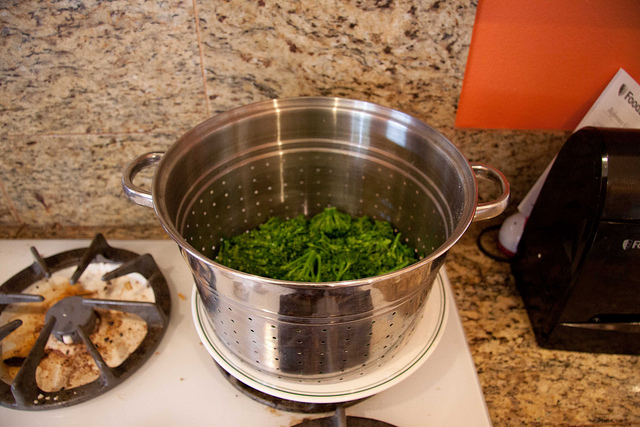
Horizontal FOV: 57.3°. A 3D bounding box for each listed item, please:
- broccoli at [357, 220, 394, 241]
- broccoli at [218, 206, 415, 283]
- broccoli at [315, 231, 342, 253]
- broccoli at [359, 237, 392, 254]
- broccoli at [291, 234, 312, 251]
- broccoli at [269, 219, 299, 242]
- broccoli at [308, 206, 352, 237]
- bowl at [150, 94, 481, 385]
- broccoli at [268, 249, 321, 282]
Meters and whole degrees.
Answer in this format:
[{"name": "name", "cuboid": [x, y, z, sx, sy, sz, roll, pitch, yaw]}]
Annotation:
[{"name": "broccoli", "cuboid": [0.163, 0.052, 1.635, 0.074, 0.024, 0.057, -37, 71, -4]}, {"name": "broccoli", "cuboid": [-0.012, 0.104, 1.632, 0.417, 0.138, 0.221, 1, 50, 4]}, {"name": "broccoli", "cuboid": [0.023, 0.086, 1.641, 0.044, 0.021, 0.064, -35, 69, -16]}, {"name": "broccoli", "cuboid": [0.155, 0.090, 1.618, 0.073, 0.017, 0.039, -11, 62, 4]}, {"name": "broccoli", "cuboid": [-0.052, 0.081, 1.650, 0.059, 0.023, 0.039, 11, 9, -45]}, {"name": "broccoli", "cuboid": [-0.100, 0.047, 1.656, 0.093, 0.029, 0.049, -26, 49, -2]}, {"name": "broccoli", "cuboid": [0.034, 0.026, 1.653, 0.092, 0.050, 0.092, -11, 42, -16]}, {"name": "bowl", "cuboid": [0.004, 0.010, 1.503, 0.869, 0.434, 0.743, -1, 46, -4]}, {"name": "broccoli", "cuboid": [-0.068, 0.149, 1.582, 0.087, 0.058, 0.106, 8, 63, 12]}]
